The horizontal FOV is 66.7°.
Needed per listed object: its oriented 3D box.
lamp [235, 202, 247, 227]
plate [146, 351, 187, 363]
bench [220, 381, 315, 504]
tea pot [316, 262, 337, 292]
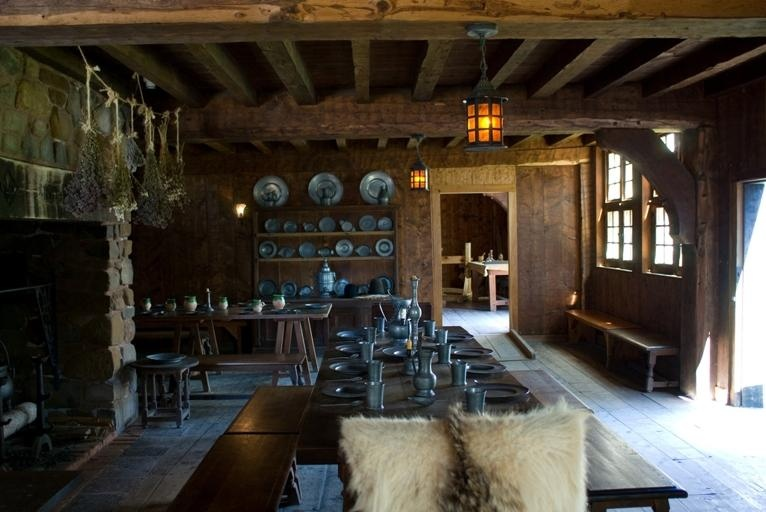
[{"bbox_3d":[-2.135,-0.646,8.764,0.188,0.325,0.138,-3,0,-5],"label":"lamp"},{"bbox_3d":[-2.135,1.002,5.696,0.345,0.096,0.299,-3,-1,-3],"label":"plate"},{"bbox_3d":[-0.788,1.321,4.055,0.367,0.231,0.999,0,5,-5],"label":"bench"},{"bbox_3d":[-0.861,0.306,8.714,0.237,0.489,0.264,-3,0,9],"label":"tea pot"}]
